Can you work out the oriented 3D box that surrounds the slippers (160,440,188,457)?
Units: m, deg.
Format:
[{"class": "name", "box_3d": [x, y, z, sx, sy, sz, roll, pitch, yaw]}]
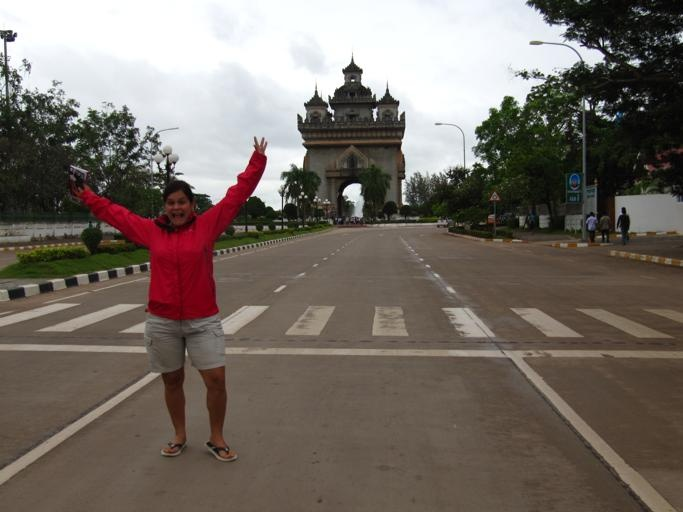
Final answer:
[{"class": "slippers", "box_3d": [-1.394, 1.579, 4.568, 0.196, 0.075, 0.246, -1, 6, 0]}]
